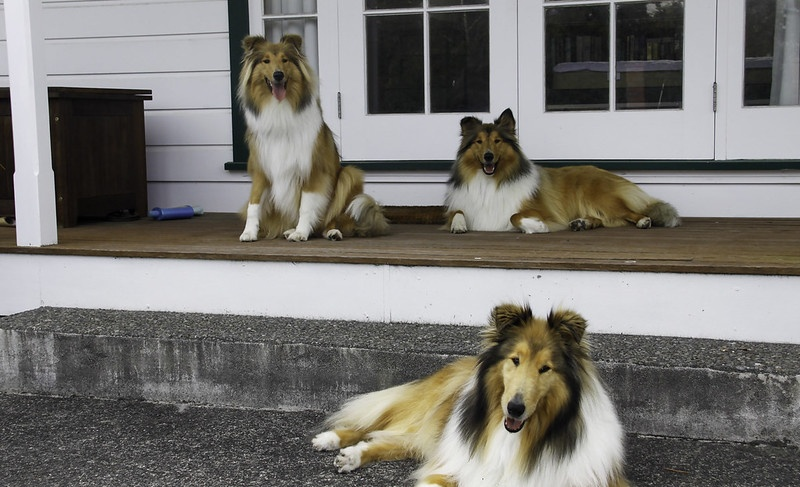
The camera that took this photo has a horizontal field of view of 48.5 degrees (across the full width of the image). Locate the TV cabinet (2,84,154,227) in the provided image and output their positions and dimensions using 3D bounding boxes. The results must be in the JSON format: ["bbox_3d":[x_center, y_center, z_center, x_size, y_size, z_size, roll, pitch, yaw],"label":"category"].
[{"bbox_3d":[-2.726,-0.823,8.146,0.301,1.228,1.032,3,10,31],"label":"TV cabinet"}]
